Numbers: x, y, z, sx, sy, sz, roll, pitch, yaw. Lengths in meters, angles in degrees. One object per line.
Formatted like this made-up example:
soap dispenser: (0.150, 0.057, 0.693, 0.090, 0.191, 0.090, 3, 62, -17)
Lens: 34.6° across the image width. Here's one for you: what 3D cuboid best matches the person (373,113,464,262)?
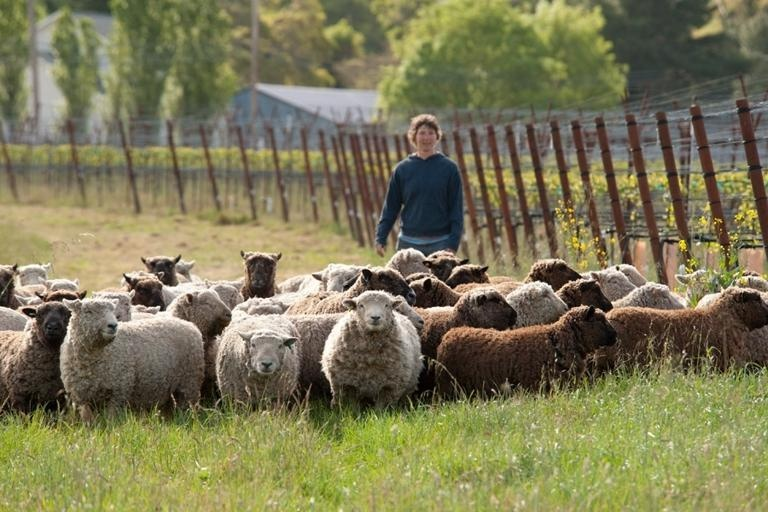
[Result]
person: (0.531, -1.069, 18.188, 1.249, 2.060, 0.725, -2, -2, 13)
